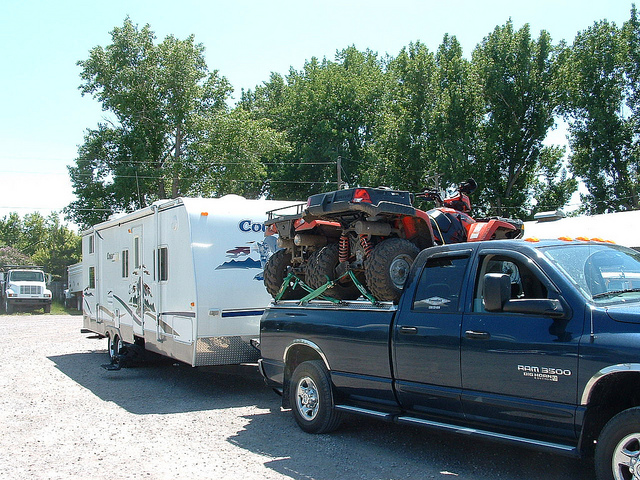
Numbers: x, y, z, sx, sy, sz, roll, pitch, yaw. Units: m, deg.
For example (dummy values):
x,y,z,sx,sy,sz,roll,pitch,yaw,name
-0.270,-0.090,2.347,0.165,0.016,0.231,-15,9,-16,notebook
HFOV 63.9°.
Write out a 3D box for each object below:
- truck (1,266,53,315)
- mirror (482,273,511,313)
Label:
x,y,z,sx,sy,sz,roll,pitch,yaw,name
-19.905,3.281,34.868,2.488,2.725,4.557,3,-9,-26,truck
1.689,0.475,5.003,0.251,0.358,0.249,14,-15,-26,mirror
